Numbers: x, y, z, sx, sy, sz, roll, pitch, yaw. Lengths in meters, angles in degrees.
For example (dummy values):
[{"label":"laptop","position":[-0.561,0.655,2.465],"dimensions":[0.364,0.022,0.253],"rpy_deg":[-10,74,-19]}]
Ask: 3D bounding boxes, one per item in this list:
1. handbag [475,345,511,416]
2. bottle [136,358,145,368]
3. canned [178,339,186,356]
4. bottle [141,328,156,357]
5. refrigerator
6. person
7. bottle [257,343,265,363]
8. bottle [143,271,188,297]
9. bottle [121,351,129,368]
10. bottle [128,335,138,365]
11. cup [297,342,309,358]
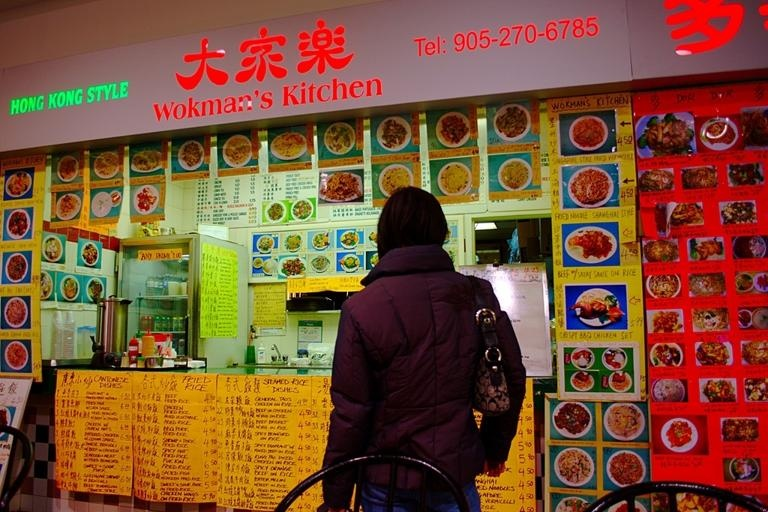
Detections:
[{"label":"handbag","position":[0.590,0.671,3.858],"dimensions":[0.156,0.332,0.335],"rpy_deg":[2,-11,3]},{"label":"bottle","position":[-1.968,0.861,5.727],"dimensions":[0.056,0.084,0.140],"rpy_deg":[4,-8,-22]},{"label":"canned","position":[-2.056,0.921,7.205],"dimensions":[0.075,0.167,0.272],"rpy_deg":[4,-8,-22]},{"label":"bottle","position":[-1.927,0.726,5.777],"dimensions":[0.120,0.196,0.167],"rpy_deg":[3,-8,-19]},{"label":"refrigerator","position":[-2.078,0.470,7.424],"dimensions":[1.349,1.339,0.828],"rpy_deg":[2,-8,-12]},{"label":"person","position":[0.215,0.506,3.918],"dimensions":[1.073,1.805,0.408],"rpy_deg":[3,-8,-16]},{"label":"bottle","position":[-1.350,1.067,7.763],"dimensions":[0.102,0.194,0.267],"rpy_deg":[2,-8,-10]},{"label":"bottle","position":[-2.287,0.267,7.471],"dimensions":[0.464,0.294,0.247],"rpy_deg":[1,-20,2]},{"label":"bottle","position":[-2.146,0.863,5.850],"dimensions":[0.066,0.112,0.274],"rpy_deg":[3,-8,-19]},{"label":"bottle","position":[-2.057,0.774,5.815],"dimensions":[0.079,0.209,0.158],"rpy_deg":[4,-8,-22]},{"label":"cup","position":[-0.884,1.032,7.726],"dimensions":[0.144,0.141,0.075],"rpy_deg":[-1,-26,3]}]
